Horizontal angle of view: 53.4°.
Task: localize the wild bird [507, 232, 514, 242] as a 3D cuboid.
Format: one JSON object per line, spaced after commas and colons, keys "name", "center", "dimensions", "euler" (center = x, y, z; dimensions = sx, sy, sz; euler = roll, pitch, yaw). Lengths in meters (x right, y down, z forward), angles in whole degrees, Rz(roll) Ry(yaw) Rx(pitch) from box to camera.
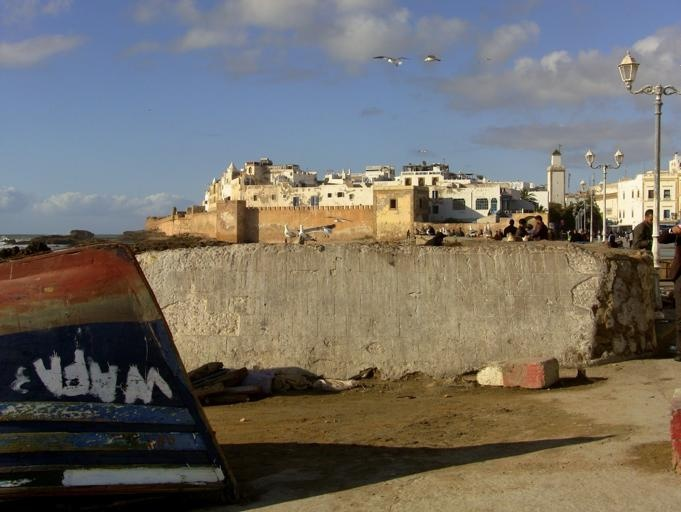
{"name": "wild bird", "center": [3.351, -0.383, 13.447], "dimensions": [0.125, 0.167, 0.269], "euler": [5, 3, 29]}
